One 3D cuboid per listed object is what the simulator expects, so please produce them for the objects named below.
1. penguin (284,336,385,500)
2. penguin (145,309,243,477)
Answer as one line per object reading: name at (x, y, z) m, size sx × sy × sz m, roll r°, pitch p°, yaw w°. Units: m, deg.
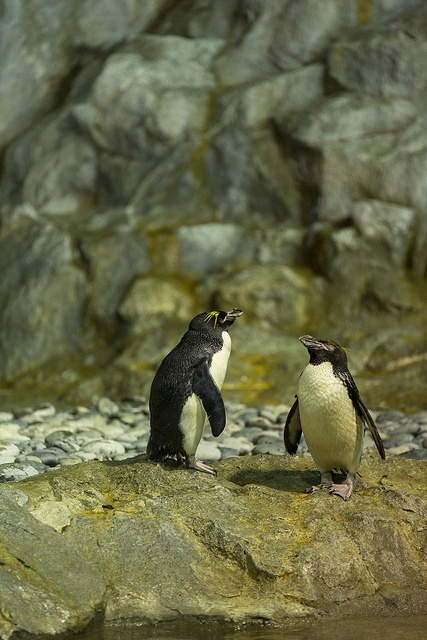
penguin at (0.604, 0.491, 4.638) m, size 0.452 × 0.788 × 0.354 m, roll 8°, pitch 9°, yaw 37°
penguin at (-0.137, 0.379, 4.839) m, size 0.413 × 0.826 × 0.428 m, roll 3°, pitch 7°, yaw 0°
